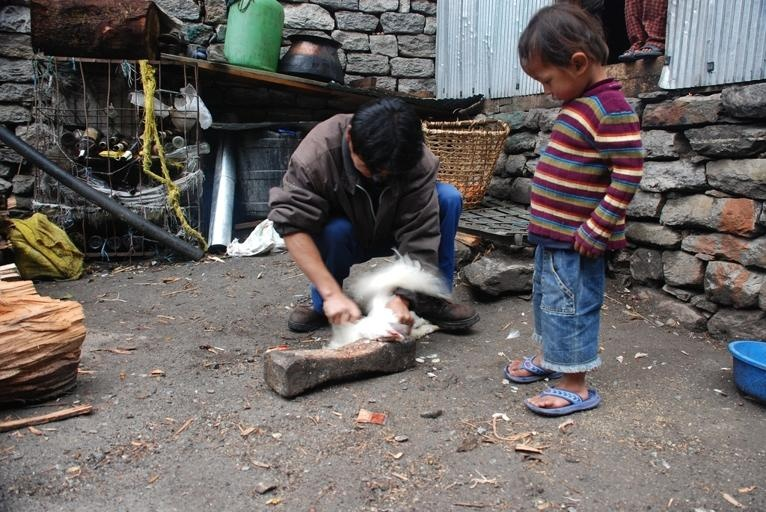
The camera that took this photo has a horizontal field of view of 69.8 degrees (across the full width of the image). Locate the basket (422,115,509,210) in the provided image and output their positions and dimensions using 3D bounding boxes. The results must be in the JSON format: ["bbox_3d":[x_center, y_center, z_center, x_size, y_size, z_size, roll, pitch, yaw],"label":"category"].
[{"bbox_3d":[0.792,-0.961,5.468,0.995,0.741,0.902,6,20,9],"label":"basket"}]

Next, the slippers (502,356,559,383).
[{"bbox_3d":[0.856,0.660,3.215,0.285,0.071,0.145,1,13,-1],"label":"slippers"}]

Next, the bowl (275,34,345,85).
[{"bbox_3d":[-0.736,-2.124,6.097,0.840,0.499,0.723,-9,18,-39],"label":"bowl"}]

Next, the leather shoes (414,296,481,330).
[{"bbox_3d":[0.411,0.386,3.732,0.562,0.220,0.196,5,30,16],"label":"leather shoes"}]

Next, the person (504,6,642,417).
[{"bbox_3d":[1.008,-0.234,3.059,1.039,1.878,0.675,-2,7,-21],"label":"person"}]

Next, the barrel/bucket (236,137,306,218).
[{"bbox_3d":[-1.193,-0.968,6.576,1.183,1.019,0.975,-1,7,-21],"label":"barrel/bucket"}]
